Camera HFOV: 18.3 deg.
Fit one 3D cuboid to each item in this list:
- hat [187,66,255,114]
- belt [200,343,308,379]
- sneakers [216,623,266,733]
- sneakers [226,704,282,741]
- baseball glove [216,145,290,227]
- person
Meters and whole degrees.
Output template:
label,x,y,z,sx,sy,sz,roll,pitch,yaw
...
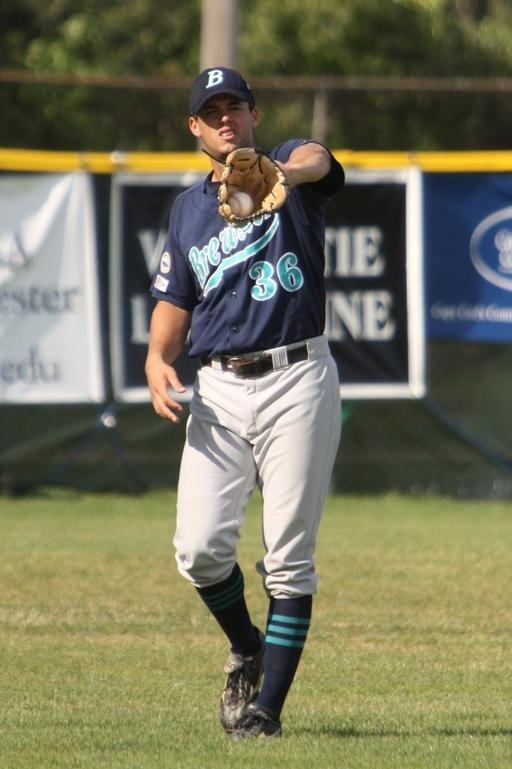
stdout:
label,x,y,z,sx,sy,sz,roll,pitch,yaw
hat,-0.116,-0.939,5.018,0.181,0.128,0.242,-11,2,-1
belt,0.009,-0.079,4.911,0.314,0.111,0.070,2,8,14
sneakers,-0.036,0.929,5.008,0.091,0.274,0.115,-2,-25,32
sneakers,0.010,1.021,4.823,0.131,0.098,0.064,-24,-3,-2
baseball glove,0.001,-0.582,4.662,0.211,0.220,0.158,1,8,7
person,-0.067,0.030,5.006,0.626,2.031,0.494,6,10,33
